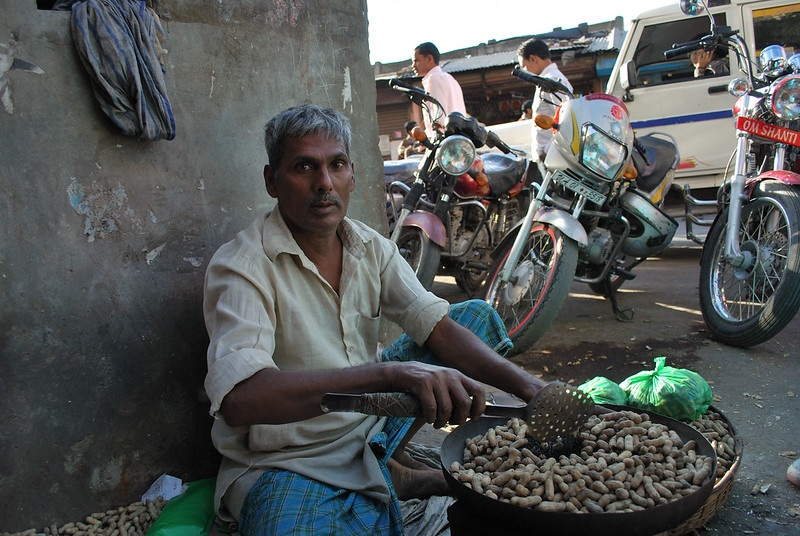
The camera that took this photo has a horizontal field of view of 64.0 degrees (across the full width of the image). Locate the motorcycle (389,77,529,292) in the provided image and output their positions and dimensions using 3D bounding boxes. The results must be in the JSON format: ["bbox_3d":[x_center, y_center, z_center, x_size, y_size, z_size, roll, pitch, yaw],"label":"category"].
[{"bbox_3d":[0.508,-0.558,5.218,0.915,1.388,2.027,21,16,22],"label":"motorcycle"}]

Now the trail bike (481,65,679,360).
[{"bbox_3d":[1.237,-0.384,4.704,1.111,1.800,2.546,-10,15,-7],"label":"trail bike"}]

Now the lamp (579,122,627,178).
[{"bbox_3d":[1.346,-0.781,4.377,0.345,0.271,0.125,32,2,-8],"label":"lamp"}]
